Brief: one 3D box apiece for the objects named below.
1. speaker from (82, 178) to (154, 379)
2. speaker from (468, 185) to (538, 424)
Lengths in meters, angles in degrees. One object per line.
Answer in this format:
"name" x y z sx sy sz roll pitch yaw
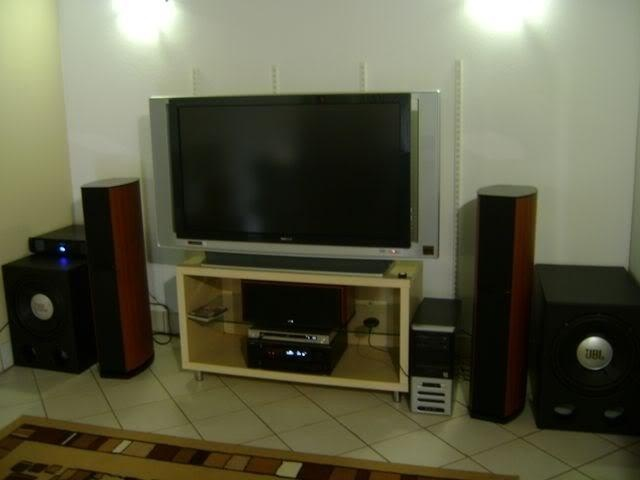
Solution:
"speaker" -1.204 0.246 3.509 0.336 1.168 0.194 -6 13 -19
"speaker" 0.959 0.359 3.063 0.338 1.197 0.205 -1 12 5
